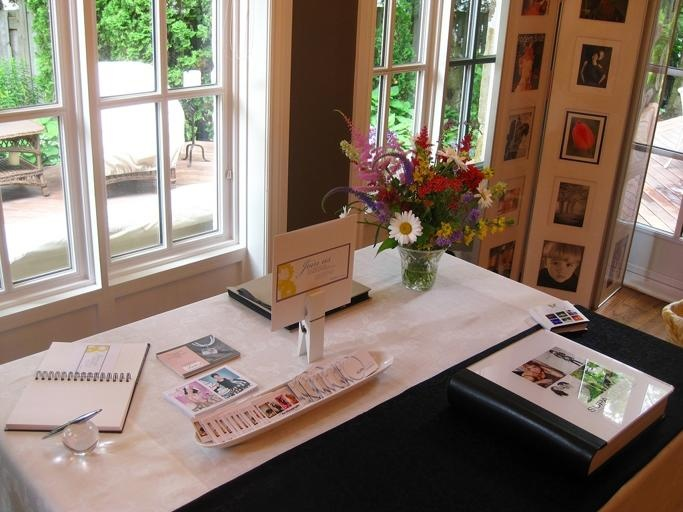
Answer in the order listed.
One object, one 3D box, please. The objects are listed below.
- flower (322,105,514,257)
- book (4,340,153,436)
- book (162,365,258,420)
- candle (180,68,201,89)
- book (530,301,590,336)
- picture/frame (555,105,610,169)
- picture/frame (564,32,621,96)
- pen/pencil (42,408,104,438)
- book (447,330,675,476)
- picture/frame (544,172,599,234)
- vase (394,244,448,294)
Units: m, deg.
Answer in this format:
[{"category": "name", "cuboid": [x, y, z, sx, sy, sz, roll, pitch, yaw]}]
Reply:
[{"category": "flower", "cuboid": [0.240, -0.307, 2.042, 0.530, 0.483, 0.708, -19, 35, -40]}, {"category": "book", "cuboid": [-0.735, 0.362, 1.449, 0.298, 0.072, 0.357, -4, 24, -4]}, {"category": "book", "cuboid": [-0.374, 0.384, 1.455, 0.215, 0.023, 0.158, -23, 31, -38]}, {"category": "candle", "cuboid": [-0.778, -0.943, 2.659, 0.100, 0.091, 0.022, -11, 23, -36]}, {"category": "book", "cuboid": [0.781, 0.215, 1.844, 0.124, 0.029, 0.117, -11, 27, -20]}, {"category": "picture/frame", "cuboid": [1.639, -0.825, 3.413, 0.383, 0.460, 0.036, 10, 27, 14]}, {"category": "picture/frame", "cuboid": [1.640, -1.268, 3.279, 0.369, 0.419, 0.027, 9, 21, 9]}, {"category": "pen/pencil", "cuboid": [-0.686, 0.426, 1.287, 0.103, 0.017, 0.018, -24, 39, -23]}, {"category": "book", "cuboid": [0.606, 0.372, 1.421, 0.354, 0.088, 0.395, 20, 30, 40]}, {"category": "picture/frame", "cuboid": [1.628, -0.397, 3.551, 0.353, 0.457, 0.023, 16, 25, 15]}, {"category": "vase", "cuboid": [0.313, 0.042, 2.048, 0.192, 0.168, 0.192, 7, -1, 43]}]
